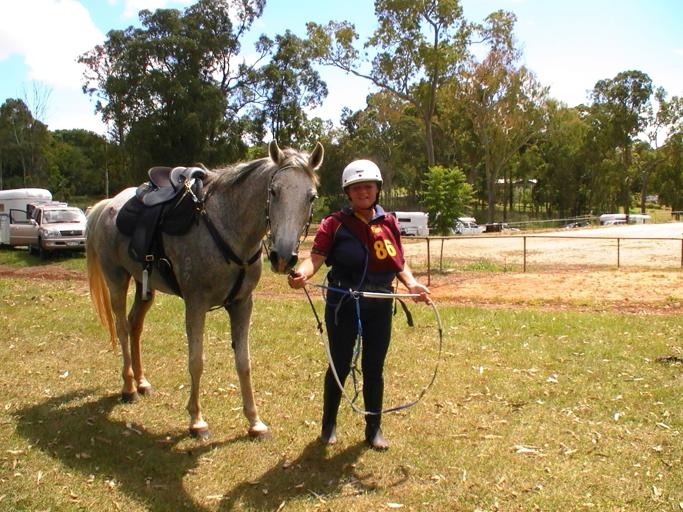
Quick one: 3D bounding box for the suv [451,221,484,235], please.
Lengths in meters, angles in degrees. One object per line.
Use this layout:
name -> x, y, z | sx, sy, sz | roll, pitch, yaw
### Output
suv -> 7.829, -1.702, 42.545 | 1.952, 1.049, 1.246 | 2, 0, -25

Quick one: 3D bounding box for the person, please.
person -> 0.234, 0.669, 8.957 | 1.458, 3.824, 0.757 | 0, 4, -6

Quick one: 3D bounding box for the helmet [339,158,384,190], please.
helmet -> 0.271, -1.068, 8.994 | 0.498, 0.406, 0.637 | 1, 4, -1
